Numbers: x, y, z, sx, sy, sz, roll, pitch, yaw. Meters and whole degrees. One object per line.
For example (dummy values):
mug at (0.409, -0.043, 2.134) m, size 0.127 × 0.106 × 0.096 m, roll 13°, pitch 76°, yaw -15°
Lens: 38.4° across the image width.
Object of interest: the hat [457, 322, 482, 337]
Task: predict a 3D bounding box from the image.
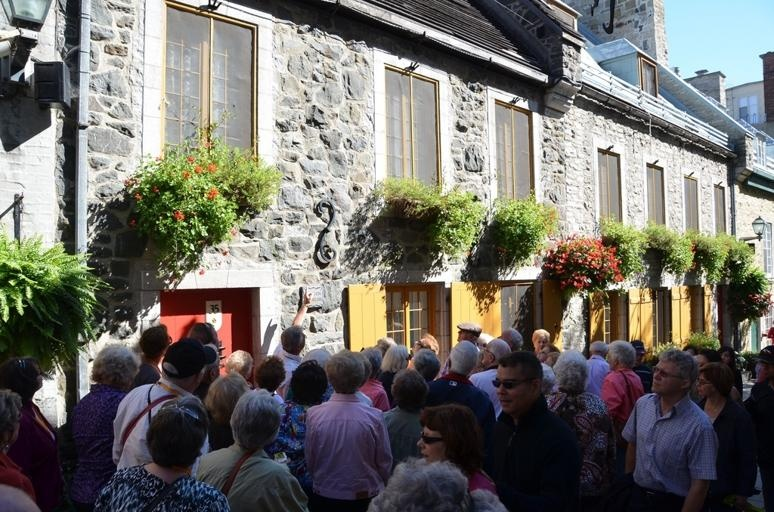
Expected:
hat at (1.122, 0.991, 15.474) m, size 0.257 × 0.101 × 0.188 m, roll 13°, pitch -5°, yaw 35°

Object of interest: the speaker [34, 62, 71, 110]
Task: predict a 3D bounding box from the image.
speaker at (-4.429, -2.245, 14.567) m, size 0.438 × 0.557 × 0.470 m, roll -6°, pitch -8°, yaw 12°
